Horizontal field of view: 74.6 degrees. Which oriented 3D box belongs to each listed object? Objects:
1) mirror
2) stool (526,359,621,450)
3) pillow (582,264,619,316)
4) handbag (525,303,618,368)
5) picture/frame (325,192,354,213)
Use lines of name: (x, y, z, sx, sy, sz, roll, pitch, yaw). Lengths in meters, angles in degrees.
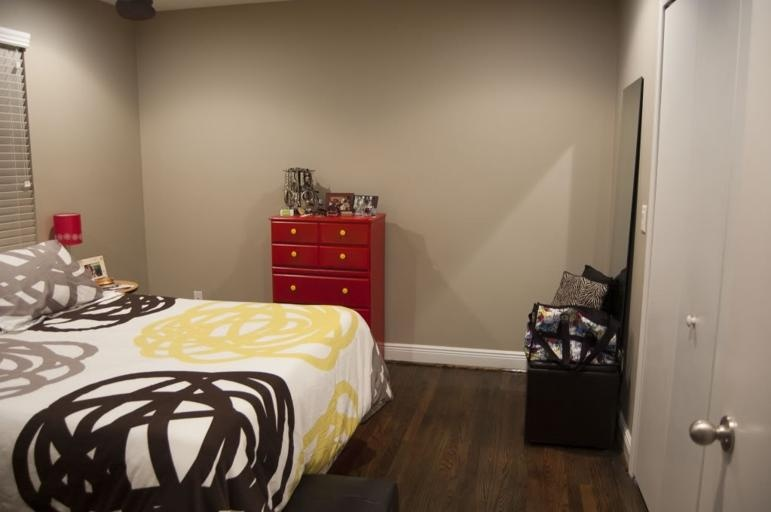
mirror: (1.821, -0.253, 3.846, 0.121, 2.054, 0.653, 2, 8, 21)
stool: (1.373, 0.996, 3.849, 0.660, 0.676, 0.521, 0, 23, 5)
pillow: (1.712, 0.278, 3.958, 0.084, 0.311, 0.294, 8, 5, -13)
handbag: (1.362, 0.584, 3.639, 0.664, 0.528, 0.390, 3, 2, 13)
picture/frame: (-0.436, -0.496, 4.779, 0.284, 0.225, 0.162, 0, 0, 1)
